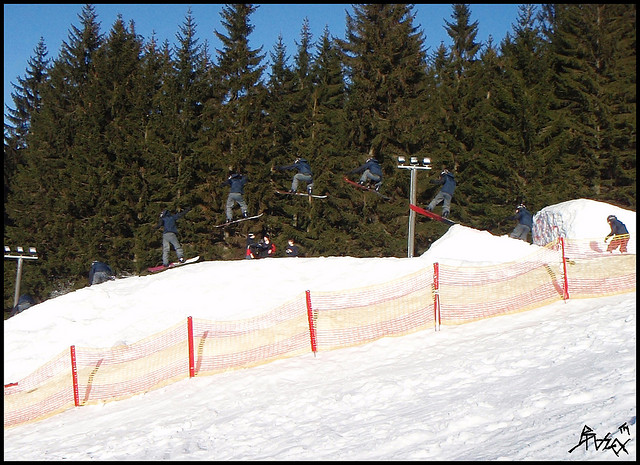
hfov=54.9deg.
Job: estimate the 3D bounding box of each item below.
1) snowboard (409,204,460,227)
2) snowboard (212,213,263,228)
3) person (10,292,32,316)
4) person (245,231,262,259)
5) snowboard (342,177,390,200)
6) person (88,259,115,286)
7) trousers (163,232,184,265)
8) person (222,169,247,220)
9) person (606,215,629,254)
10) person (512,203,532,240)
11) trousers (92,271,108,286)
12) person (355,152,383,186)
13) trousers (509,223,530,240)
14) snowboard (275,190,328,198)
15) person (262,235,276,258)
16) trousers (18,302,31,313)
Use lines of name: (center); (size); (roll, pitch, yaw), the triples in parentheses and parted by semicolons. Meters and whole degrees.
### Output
snowboard: (6.330, -0.903, 33.969); (3.327, 0.433, 0.266); (20, 28, -29)
snowboard: (-5.316, -0.758, 39.392); (5.670, 0.461, 0.652); (-2, -39, 37)
person: (-11.763, 2.829, 24.207); (0.713, 0.639, 3.345); (-3, -3, -26)
person: (-3.456, 0.623, 31.588); (0.673, 0.900, 1.535); (-2, -36, 4)
snowboard: (2.873, -2.666, 38.076); (3.214, 0.366, 0.281); (30, -54, -18)
person: (-8.956, 1.612, 25.160); (0.825, 0.931, 2.154); (-4, -3, -19)
trousers: (-6.503, 0.718, 27.024); (0.842, 1.321, 2.364); (-4, -3, -15)
person: (-4.002, -1.633, 28.234); (1.354, 2.653, 1.030); (-6, -18, -3)
person: (9.583, 0.105, 19.828); (0.431, 0.399, 1.082); (-28, 22, 34)
person: (8.443, -0.468, 25.721); (0.750, 1.124, 2.519); (-6, -3, 19)
trousers: (-8.870, 1.790, 24.729); (0.606, 0.479, 0.365); (-3, -3, -27)
person: (2.175, -2.841, 27.639); (1.199, 1.710, 1.032); (2, 1, 3)
trousers: (8.754, -0.023, 26.855); (0.320, 0.974, 0.447); (28, -15, 32)
snowboard: (-1.097, -2.448, 38.745); (3.985, 0.308, 0.582); (6, 8, 14)
person: (-2.581, 0.721, 30.684); (0.663, 0.640, 1.312); (2, 17, -5)
trousers: (-11.428, 2.844, 23.703); (0.384, 0.125, 0.435); (-8, 31, 24)
